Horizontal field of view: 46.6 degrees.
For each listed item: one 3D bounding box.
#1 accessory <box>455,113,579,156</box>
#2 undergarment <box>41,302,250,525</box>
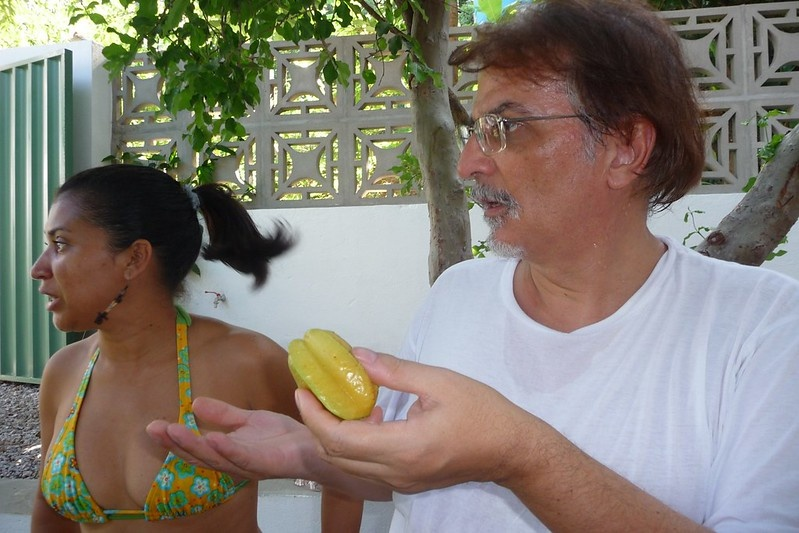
[{"bbox_3d":[0.519,-0.659,4.533,0.337,0.096,0.310,1,-7,-30],"label":"accessory"},{"bbox_3d":[-1.411,0.909,5.682,1.365,1.348,1.001,-3,-11,6],"label":"undergarment"}]
